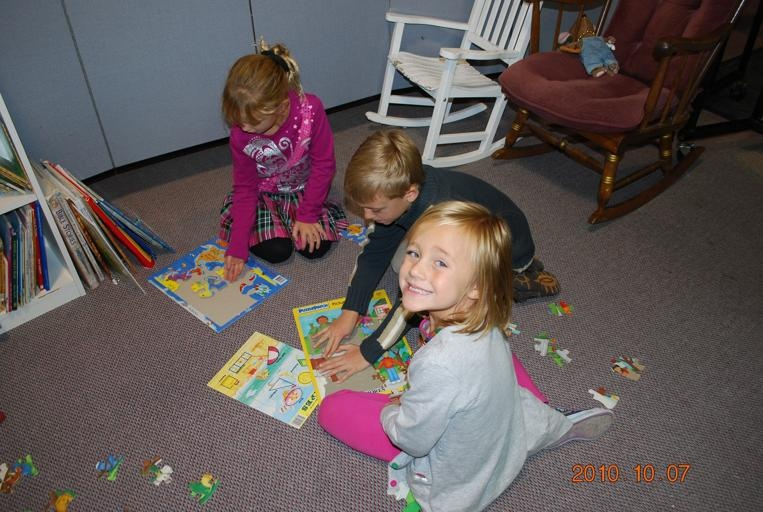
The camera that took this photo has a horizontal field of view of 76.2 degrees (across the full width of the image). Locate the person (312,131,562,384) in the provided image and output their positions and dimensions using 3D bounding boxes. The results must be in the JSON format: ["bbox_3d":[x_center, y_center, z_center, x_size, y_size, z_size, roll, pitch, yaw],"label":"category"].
[{"bbox_3d":[0.240,-0.096,2.144,1.075,0.876,0.627,-17,33,-18],"label":"person"}]

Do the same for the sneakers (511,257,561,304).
[{"bbox_3d":[0.726,0.135,2.386,0.296,0.133,0.150,-13,35,-9],"label":"sneakers"}]

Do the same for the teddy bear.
[{"bbox_3d":[1.236,-1.219,2.841,0.306,0.125,0.443,-8,51,9],"label":"teddy bear"}]

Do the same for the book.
[{"bbox_3d":[-1.425,-0.106,2.176,0.777,0.241,0.578,13,36,-42],"label":"book"}]
